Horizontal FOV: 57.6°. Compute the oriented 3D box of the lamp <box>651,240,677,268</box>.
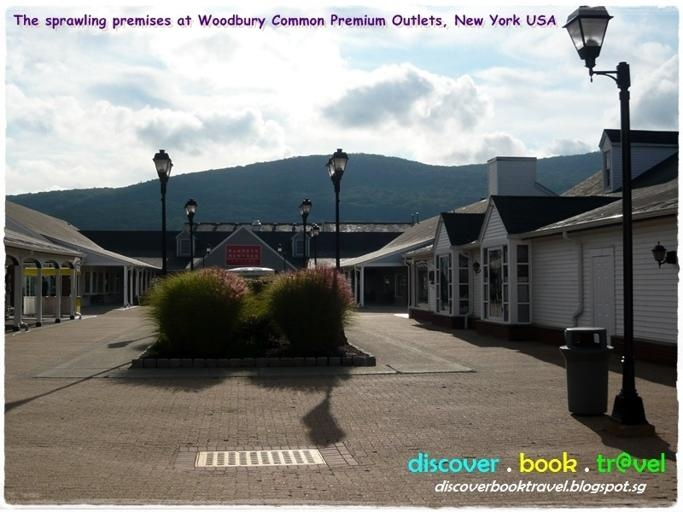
[{"bbox_3d":[6.948,-0.033,13.388,0.455,0.555,0.498,-1,-1,28],"label":"lamp"}]

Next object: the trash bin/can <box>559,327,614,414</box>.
[{"bbox_3d":[3.878,1.816,9.856,0.886,1.328,0.840,3,-5,-34],"label":"trash bin/can"}]

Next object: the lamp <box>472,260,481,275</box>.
[{"bbox_3d":[4.731,0.407,21.891,0.243,0.369,0.326,-2,7,16],"label":"lamp"}]
